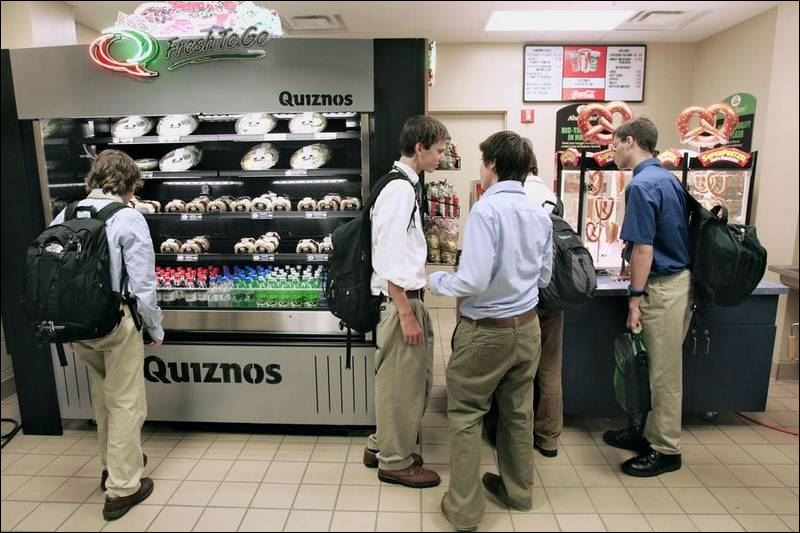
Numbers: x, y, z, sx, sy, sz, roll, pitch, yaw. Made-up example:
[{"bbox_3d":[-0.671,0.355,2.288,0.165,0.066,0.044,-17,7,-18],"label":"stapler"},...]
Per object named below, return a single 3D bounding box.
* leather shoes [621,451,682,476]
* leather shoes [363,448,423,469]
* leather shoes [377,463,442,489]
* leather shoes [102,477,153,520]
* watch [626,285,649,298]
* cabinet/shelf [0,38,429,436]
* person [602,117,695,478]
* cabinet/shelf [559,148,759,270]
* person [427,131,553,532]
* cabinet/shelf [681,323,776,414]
[{"bbox_3d":[1.852,1.447,4.481,0.460,0.196,0.177,-2,16,2],"label":"leather shoes"},{"bbox_3d":[-0.030,1.427,4.525,0.490,0.194,0.159,0,8,4],"label":"leather shoes"},{"bbox_3d":[0.090,1.497,4.327,0.328,0.126,0.188,1,2,1],"label":"leather shoes"},{"bbox_3d":[-1.973,1.684,4.309,0.165,0.193,0.435,-3,-6,10],"label":"leather shoes"},{"bbox_3d":[1.746,0.177,4.366,0.109,0.061,0.091,-2,-1,16],"label":"watch"},{"bbox_3d":[-1.427,-0.212,4.563,3.377,3.029,1.162,-1,6,0],"label":"cabinet/shelf"},{"bbox_3d":[1.828,0.220,4.386,0.628,2.599,0.605,-1,12,18],"label":"person"},{"bbox_3d":[1.961,-0.436,4.639,1.138,0.851,0.382,-1,3,-9],"label":"cabinet/shelf"},{"bbox_3d":[0.634,0.435,3.968,0.891,2.611,0.359,-8,12,-19],"label":"person"},{"bbox_3d":[2.660,0.842,5.104,0.892,0.790,0.669,-1,6,3],"label":"cabinet/shelf"}]
